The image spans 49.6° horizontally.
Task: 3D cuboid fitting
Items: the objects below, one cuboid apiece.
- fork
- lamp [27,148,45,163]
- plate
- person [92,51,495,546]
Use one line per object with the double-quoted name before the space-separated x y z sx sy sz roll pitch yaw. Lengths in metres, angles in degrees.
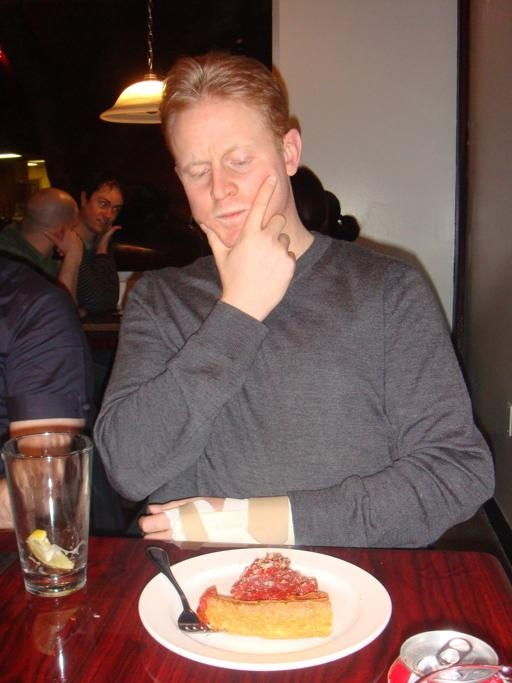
"fork" -0.087 0.264 0.583 0.030 0.019 0.139 8 27 -38
"lamp" -1.826 -1.552 4.592 0.129 0.119 0.034 -2 4 0
"plate" 0.010 0.265 0.560 0.246 0.029 0.229 0 3 15
"person" 0.019 -0.115 1.035 0.583 0.905 0.650 -3 4 -32
